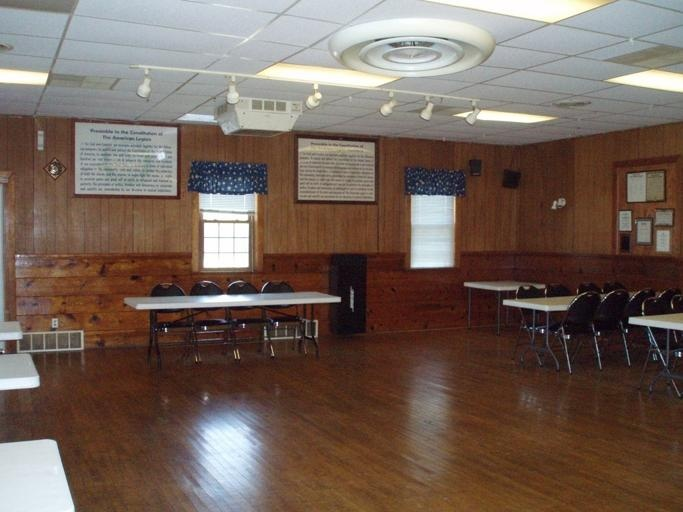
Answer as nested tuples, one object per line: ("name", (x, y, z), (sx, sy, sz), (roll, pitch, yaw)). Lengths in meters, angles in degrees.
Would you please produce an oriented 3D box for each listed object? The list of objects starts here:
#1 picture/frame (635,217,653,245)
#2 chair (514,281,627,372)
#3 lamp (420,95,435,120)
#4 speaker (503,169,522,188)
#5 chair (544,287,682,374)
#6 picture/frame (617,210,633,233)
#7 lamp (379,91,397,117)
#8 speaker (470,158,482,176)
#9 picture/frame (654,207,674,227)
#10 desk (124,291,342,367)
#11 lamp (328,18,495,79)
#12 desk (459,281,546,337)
("picture/frame", (4.783, -0.364, 8.555), (0.029, 0.426, 0.284), (-3, 5, -31))
("chair", (2.770, 0.942, 7.333), (1.109, 1.002, 1.170), (-2, 4, -27))
("lamp", (1.101, -1.889, 6.980), (0.185, 0.248, 0.223), (19, -32, -5))
("speaker", (3.298, -1.466, 10.519), (0.395, 0.332, 0.096), (2, 5, -12))
("chair", (3.401, 0.895, 7.563), (1.303, 1.329, 1.133), (-2, 4, -20))
("picture/frame", (4.620, -0.552, 8.829), (0.062, 0.345, 0.252), (-1, 5, -19))
("lamp", (0.585, -1.899, 6.837), (0.163, 0.150, 0.265), (-14, -25, -45))
("speaker", (2.526, -1.636, 10.233), (0.212, 0.289, 0.185), (1, 4, 6))
("picture/frame", (4.945, -0.578, 8.296), (0.035, 0.278, 0.334), (-1, 4, -32))
("desk", (-1.588, 0.973, 7.785), (2.793, 0.940, 1.847), (-1, 4, -21))
("lamp", (0.605, -1.771, 4.694), (1.418, 0.300, 0.724), (0, 3, 3))
("desk", (2.952, 0.976, 10.021), (1.167, 0.723, 1.086), (-2, 5, -24))
